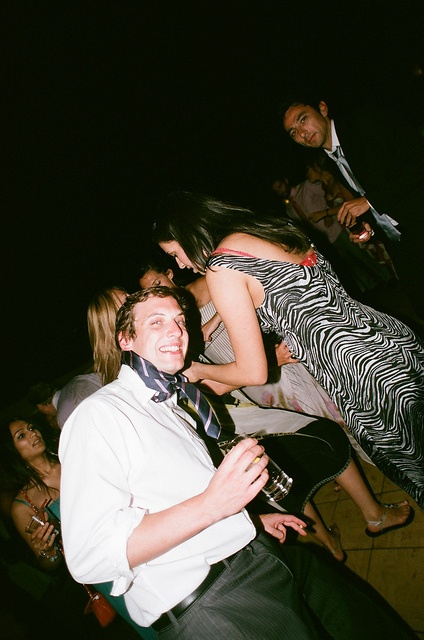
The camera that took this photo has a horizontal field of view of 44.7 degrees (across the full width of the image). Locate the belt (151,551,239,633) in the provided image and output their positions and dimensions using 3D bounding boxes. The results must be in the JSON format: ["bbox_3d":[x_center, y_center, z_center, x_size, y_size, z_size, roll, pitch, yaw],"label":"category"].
[{"bbox_3d":[-0.044,0.656,1.240,0.167,0.042,0.167,-39,-7,-7],"label":"belt"}]

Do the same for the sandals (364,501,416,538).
[{"bbox_3d":[0.780,0.881,2.299,0.220,0.077,0.119,-23,21,8],"label":"sandals"}]

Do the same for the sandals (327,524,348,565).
[{"bbox_3d":[0.589,1.056,2.435,0.060,0.148,0.040,-17,-27,19],"label":"sandals"}]
